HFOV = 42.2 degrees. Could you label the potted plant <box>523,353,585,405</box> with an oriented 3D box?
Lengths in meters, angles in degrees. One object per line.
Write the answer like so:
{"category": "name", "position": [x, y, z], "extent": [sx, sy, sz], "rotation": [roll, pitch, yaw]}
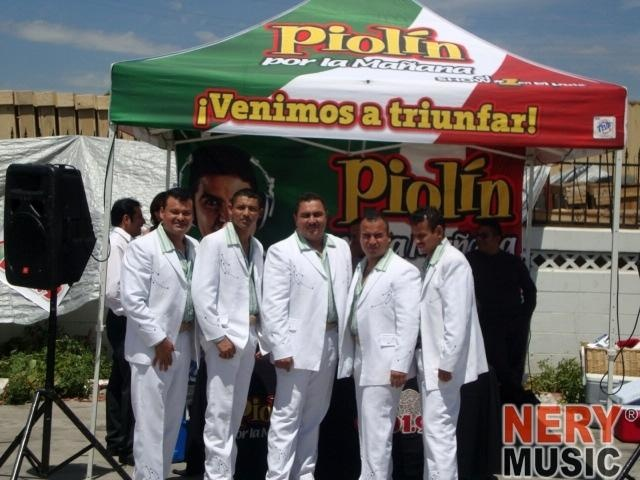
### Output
{"category": "potted plant", "position": [3.239, 1.909, 11.330], "extent": [0.687, 0.599, 0.714], "rotation": [3, 12, 22]}

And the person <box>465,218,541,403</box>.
{"category": "person", "position": [2.022, 0.748, 9.649], "extent": [0.784, 1.983, 0.840], "rotation": [8, 10, 23]}

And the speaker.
{"category": "speaker", "position": [-2.591, -0.121, 7.987], "extent": [0.848, 1.036, 0.346], "rotation": [1, 0, -18]}
